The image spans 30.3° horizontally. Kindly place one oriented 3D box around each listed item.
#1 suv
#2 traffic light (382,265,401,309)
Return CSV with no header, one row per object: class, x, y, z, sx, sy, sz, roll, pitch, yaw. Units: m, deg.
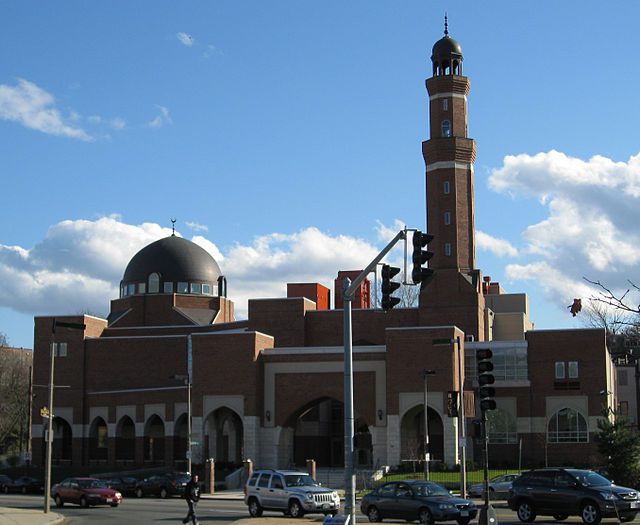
suv,-1.538,12.955,65.624,4.285,2.242,2.549,-12,-17,35
traffic light,3.235,1.018,54.225,0.829,2.291,0.630,14,-56,-5
